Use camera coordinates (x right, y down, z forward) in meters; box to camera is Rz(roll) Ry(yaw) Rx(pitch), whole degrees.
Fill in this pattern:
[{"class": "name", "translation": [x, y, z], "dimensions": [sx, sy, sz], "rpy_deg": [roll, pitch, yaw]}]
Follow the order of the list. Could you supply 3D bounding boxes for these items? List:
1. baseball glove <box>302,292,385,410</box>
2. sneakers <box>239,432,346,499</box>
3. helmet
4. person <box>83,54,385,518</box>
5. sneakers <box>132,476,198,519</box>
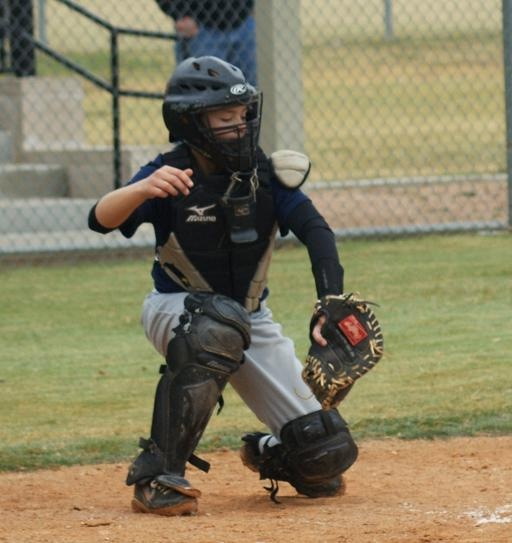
[{"class": "baseball glove", "translation": [0.231, 0.230, 3.075], "dimensions": [0.240, 0.313, 0.088], "rpy_deg": [45, -4, -20]}, {"class": "sneakers", "translation": [0.114, 0.568, 3.391], "dimensions": [0.238, 0.143, 0.376], "rpy_deg": [-11, 4, -34]}, {"class": "helmet", "translation": [-0.086, -0.501, 3.303], "dimensions": [0.361, 0.354, 0.312], "rpy_deg": [14, 26, 40]}, {"class": "person", "translation": [-0.074, 0.080, 3.210], "dimensions": [0.823, 1.417, 0.532], "rpy_deg": [-3, 13, -9]}, {"class": "sneakers", "translation": [-0.277, 0.649, 3.099], "dimensions": [0.194, 0.117, 0.100], "rpy_deg": [-2, -10, 17]}]
